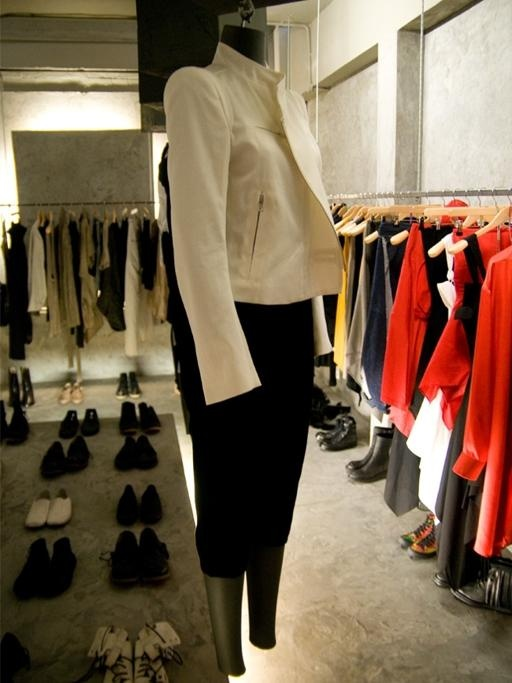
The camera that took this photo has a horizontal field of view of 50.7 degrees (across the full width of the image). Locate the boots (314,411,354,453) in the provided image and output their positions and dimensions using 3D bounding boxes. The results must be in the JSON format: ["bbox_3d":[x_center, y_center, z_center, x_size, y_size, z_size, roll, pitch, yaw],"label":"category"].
[{"bbox_3d":[0.464,0.518,3.053,0.174,0.156,0.154,-14,22,-18],"label":"boots"}]

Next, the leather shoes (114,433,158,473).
[{"bbox_3d":[-0.500,0.450,2.279,0.086,0.075,0.171,0,18,-5],"label":"leather shoes"}]

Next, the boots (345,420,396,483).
[{"bbox_3d":[0.573,0.535,2.685,0.201,0.315,0.190,1,6,-6],"label":"boots"}]

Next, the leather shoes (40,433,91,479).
[{"bbox_3d":[-0.776,0.466,2.190,0.207,0.106,0.127,-14,18,-31],"label":"leather shoes"}]

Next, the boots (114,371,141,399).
[{"bbox_3d":[-0.765,0.258,3.225,0.149,0.128,0.194,-8,16,-17],"label":"boots"}]

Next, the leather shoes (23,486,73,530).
[{"bbox_3d":[-0.725,0.577,1.914,0.141,0.071,0.198,-6,17,-9],"label":"leather shoes"}]

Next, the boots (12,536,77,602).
[{"bbox_3d":[-0.620,0.672,1.583,0.080,0.082,0.174,2,10,-8],"label":"boots"}]

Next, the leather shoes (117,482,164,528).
[{"bbox_3d":[-0.420,0.590,1.922,0.088,0.071,0.163,1,21,-8],"label":"leather shoes"}]

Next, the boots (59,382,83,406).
[{"bbox_3d":[-1.075,0.319,3.140,0.129,0.098,0.241,-9,17,-19],"label":"boots"}]

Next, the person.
[{"bbox_3d":[0.007,0.074,1.030,0.231,1.273,0.407,8,15,41],"label":"person"}]
